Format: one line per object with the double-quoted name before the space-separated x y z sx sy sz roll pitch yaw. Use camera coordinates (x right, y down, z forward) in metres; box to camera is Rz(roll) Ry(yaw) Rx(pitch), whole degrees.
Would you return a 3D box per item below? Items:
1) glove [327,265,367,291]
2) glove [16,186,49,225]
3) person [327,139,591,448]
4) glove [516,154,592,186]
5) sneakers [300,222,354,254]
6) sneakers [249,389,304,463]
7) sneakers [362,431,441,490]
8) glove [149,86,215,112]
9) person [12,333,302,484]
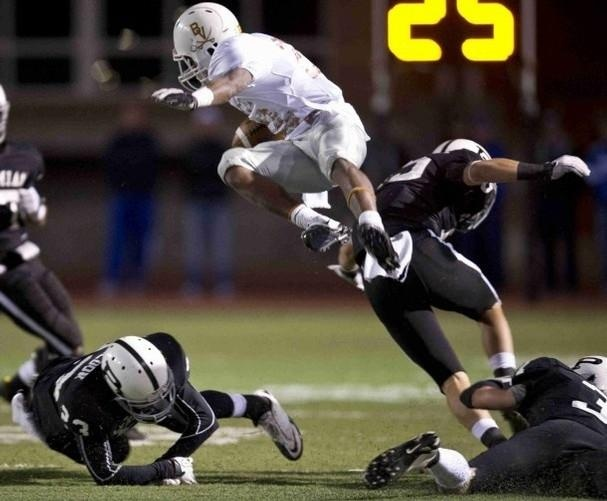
"glove" 0.257 0.140 5.439 0.221 0.082 0.140 23 0 14
"glove" -1.506 -0.251 5.201 0.108 0.212 0.287 0 4 -3
"person" 0.884 0.181 4.681 1.258 1.819 0.742 -16 -27 17
"glove" 1.181 -0.373 4.622 0.448 0.126 0.160 -3 24 22
"sneakers" 0.107 -0.079 4.860 0.218 0.130 0.085 -21 7 6
"sneakers" -0.112 0.884 4.840 0.422 0.143 0.188 48 30 23
"sneakers" 0.487 0.873 3.882 0.437 0.138 0.168 -26 -31 12
"glove" -0.581 -0.754 4.549 0.228 0.068 0.133 -12 29 -32
"person" -0.747 0.685 4.358 1.027 0.596 0.834 31 33 27
